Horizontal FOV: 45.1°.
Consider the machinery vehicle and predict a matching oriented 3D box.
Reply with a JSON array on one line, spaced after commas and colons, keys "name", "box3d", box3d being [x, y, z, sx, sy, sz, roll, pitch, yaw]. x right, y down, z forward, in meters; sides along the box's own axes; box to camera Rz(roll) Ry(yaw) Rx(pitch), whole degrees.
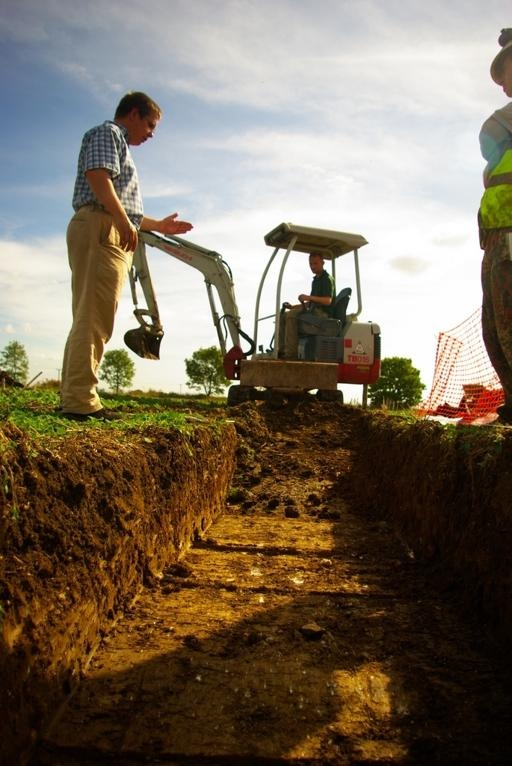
[{"name": "machinery vehicle", "box3d": [0.011, -0.959, 9.464, 3.989, 2.869, 1.267, 3, 2, -16]}]

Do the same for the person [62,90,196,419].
[{"name": "person", "box3d": [-0.917, -0.838, 3.641, 0.404, 2.059, 0.868, 1, 1, 19]}]
